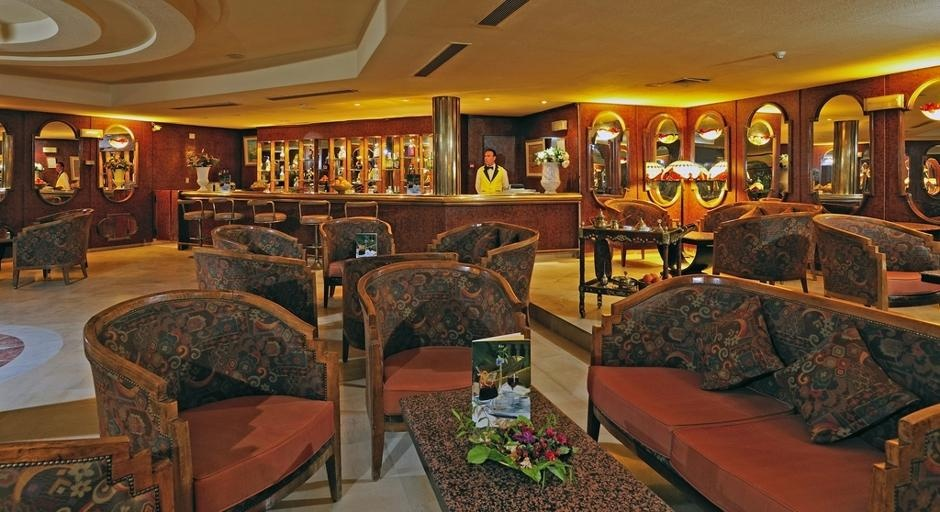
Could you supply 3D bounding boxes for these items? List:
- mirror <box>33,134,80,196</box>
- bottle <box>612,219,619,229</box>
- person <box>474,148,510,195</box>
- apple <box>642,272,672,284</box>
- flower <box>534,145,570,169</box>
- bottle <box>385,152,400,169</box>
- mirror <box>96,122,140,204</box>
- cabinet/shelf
[{"bbox_3d":[-9.195,-1.913,12.866,1.095,1.580,0.054,-5,-9,-5],"label":"mirror"},{"bbox_3d":[1.850,-0.397,7.344,0.115,0.100,0.106,3,-4,-25],"label":"bottle"},{"bbox_3d":[0.471,-1.627,11.219,0.536,0.782,0.632,-4,9,-15],"label":"person"},{"bbox_3d":[2.242,0.262,6.944,0.271,0.076,0.222,-1,2,10],"label":"apple"},{"bbox_3d":[1.522,-1.727,10.218,0.652,0.303,0.631,4,4,36],"label":"flower"},{"bbox_3d":[-1.942,-2.342,14.303,0.429,0.365,0.107,4,10,34],"label":"bottle"},{"bbox_3d":[-8.358,-2.187,13.681,0.209,1.790,0.848,4,10,32],"label":"mirror"},{"bbox_3d":[-3.285,-2.329,14.840,4.917,1.384,0.554,2,9,22],"label":"cabinet/shelf"}]
